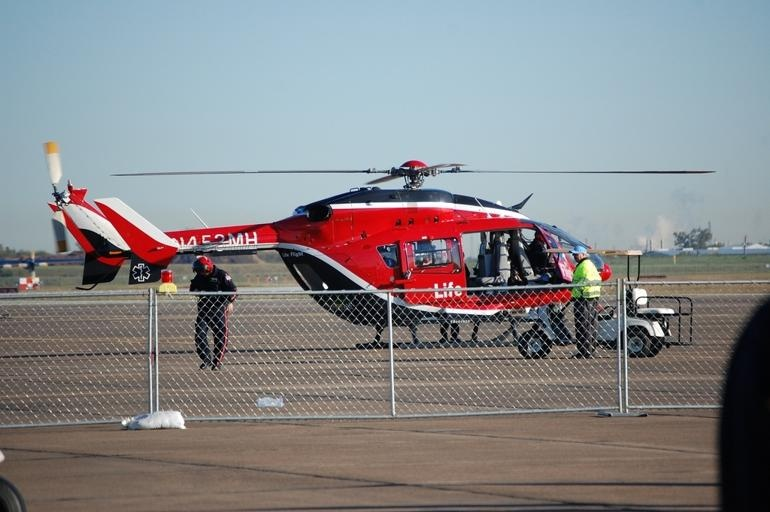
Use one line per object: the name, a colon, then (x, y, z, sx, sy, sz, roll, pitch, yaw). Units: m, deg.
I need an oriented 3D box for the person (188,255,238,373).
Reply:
person: (-4.267, 1.384, 34.869, 1.228, 2.729, 1.283, 0, 0, 1)

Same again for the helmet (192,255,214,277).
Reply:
helmet: (-4.387, 0.295, 35.434, 0.423, 0.386, 0.493, -4, -15, 13)

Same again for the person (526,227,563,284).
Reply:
person: (4.218, 0.056, 39.245, 0.913, 1.360, 0.989, 2, -1, -2)

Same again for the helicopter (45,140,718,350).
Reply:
helicopter: (-0.398, -0.212, 40.173, 17.554, 5.259, 14.585, -1, -9, -24)

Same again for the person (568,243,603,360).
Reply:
person: (4.811, 1.112, 35.943, 1.052, 2.417, 1.085, -1, -3, 22)
